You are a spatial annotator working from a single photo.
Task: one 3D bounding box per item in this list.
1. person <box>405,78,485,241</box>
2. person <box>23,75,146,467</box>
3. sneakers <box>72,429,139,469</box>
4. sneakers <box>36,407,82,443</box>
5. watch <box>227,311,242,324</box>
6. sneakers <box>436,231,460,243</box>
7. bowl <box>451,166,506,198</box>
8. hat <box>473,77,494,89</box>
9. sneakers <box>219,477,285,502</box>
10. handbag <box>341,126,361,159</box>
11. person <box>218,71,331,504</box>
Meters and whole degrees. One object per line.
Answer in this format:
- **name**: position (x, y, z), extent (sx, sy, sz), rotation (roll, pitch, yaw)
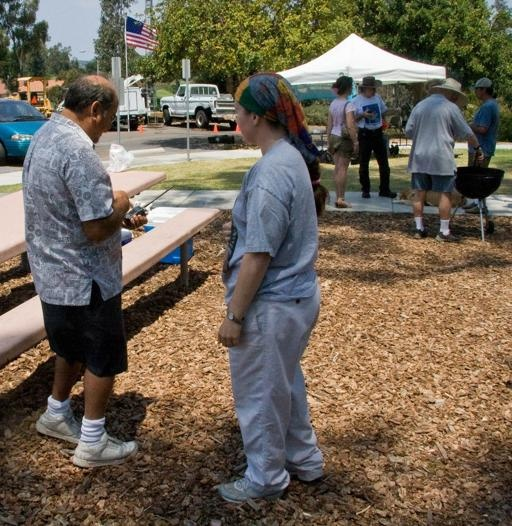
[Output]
- **person**: position (2.537, -1.464, 6.698), extent (0.924, 2.227, 0.849), rotation (7, 15, 21)
- **person**: position (-0.764, 0.098, 2.130), extent (0.407, 1.816, 0.567), rotation (-9, 17, -35)
- **sneakers**: position (-0.729, 0.918, 2.374), extent (0.338, 0.156, 0.130), rotation (1, 6, -32)
- **sneakers**: position (-1.008, 0.847, 2.523), extent (0.279, 0.151, 0.123), rotation (18, 6, -9)
- **watch**: position (-0.076, 0.190, 1.651), extent (0.058, 0.049, 0.040), rotation (1, 13, -2)
- **sneakers**: position (2.671, -0.365, 6.696), extent (0.321, 0.124, 0.116), rotation (3, 13, -1)
- **bowl**: position (2.974, -1.099, 6.439), extent (0.562, 0.310, 0.518), rotation (-1, 9, 0)
- **hat**: position (3.879, -3.088, 8.214), extent (0.342, 0.172, 0.235), rotation (19, 33, 30)
- **sneakers**: position (-0.002, 0.971, 2.064), extent (0.315, 0.116, 0.105), rotation (4, 6, 1)
- **handbag**: position (1.668, -2.086, 8.437), extent (0.277, 0.485, 0.548), rotation (3, 13, 8)
- **person**: position (0.042, 0.188, 1.837), extent (0.335, 1.754, 0.483), rotation (9, 16, 29)
